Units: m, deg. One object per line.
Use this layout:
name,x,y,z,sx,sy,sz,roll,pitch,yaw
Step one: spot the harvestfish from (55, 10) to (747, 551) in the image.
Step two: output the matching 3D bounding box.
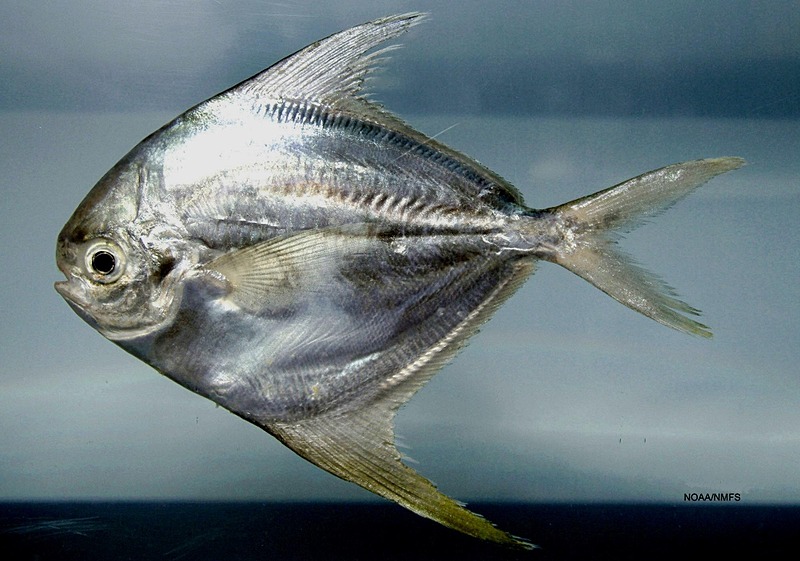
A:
harvestfish,-0.184,-0.077,4.047,1.979,1.847,0.804,15,-26,-6
